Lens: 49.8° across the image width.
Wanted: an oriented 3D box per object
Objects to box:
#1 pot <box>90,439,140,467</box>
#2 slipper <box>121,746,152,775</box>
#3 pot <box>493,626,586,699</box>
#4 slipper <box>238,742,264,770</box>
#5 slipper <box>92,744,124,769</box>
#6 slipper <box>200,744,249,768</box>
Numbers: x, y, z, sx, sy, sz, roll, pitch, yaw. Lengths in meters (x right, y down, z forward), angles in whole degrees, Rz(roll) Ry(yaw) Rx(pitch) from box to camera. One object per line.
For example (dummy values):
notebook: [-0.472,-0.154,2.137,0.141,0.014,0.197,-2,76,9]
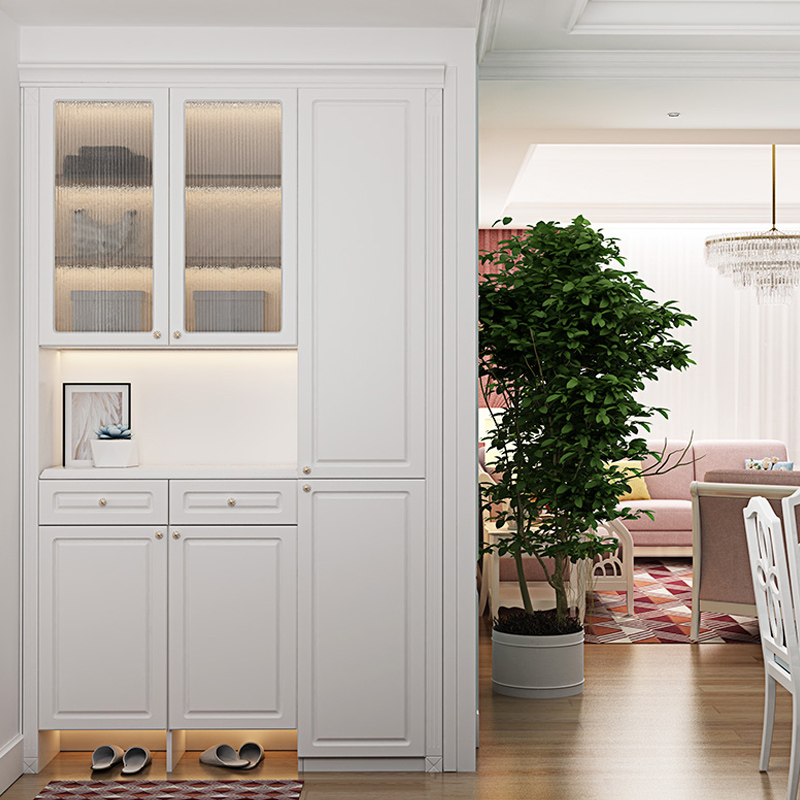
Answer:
pot: [-1.137,0.215,3.395,0.150,0.071,0.131,1,-7,-9]
slipper: [-1.005,1.359,3.248,0.107,0.070,0.124,-1,3,-15]
pot: [0.654,1.249,4.145,0.469,0.246,0.435,0,-10,0]
slipper: [-0.572,1.363,3.289,0.061,0.037,0.093,-3,16,-9]
slipper: [-1.123,1.348,3.257,0.062,0.041,0.116,1,2,-2]
slipper: [-0.669,1.348,3.285,0.214,0.052,0.072,-4,-17,38]
